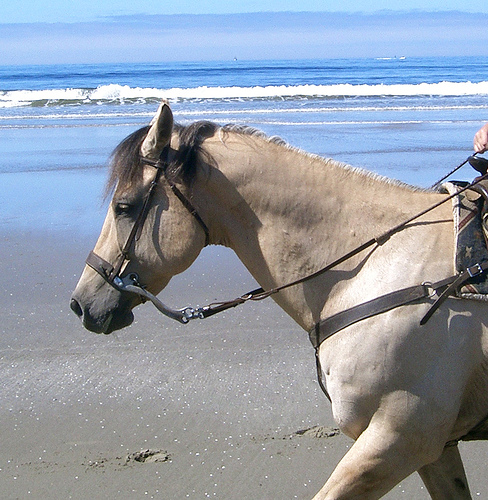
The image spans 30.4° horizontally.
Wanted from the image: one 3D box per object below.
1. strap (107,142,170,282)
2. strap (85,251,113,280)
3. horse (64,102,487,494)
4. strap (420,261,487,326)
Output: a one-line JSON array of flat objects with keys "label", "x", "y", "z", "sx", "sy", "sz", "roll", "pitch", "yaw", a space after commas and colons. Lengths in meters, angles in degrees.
[{"label": "strap", "x": -0.589, "y": -0.207, "z": 5.152, "sx": 0.108, "sy": 0.865, "sz": 0.108, "roll": 26, "pitch": 2, "yaw": -26}, {"label": "strap", "x": -0.850, "y": 0.083, "z": 5.262, "sx": 0.168, "sy": 0.064, "sz": 0.154, "roll": 37, "pitch": -3, "yaw": 4}, {"label": "horse", "x": 0.351, "y": 0.238, "z": 5.110, "sx": 2.225, "sy": 1.920, "sz": 0.858, "roll": 14, "pitch": 16, "yaw": 24}, {"label": "strap", "x": 1.110, "y": 0.225, "z": 4.794, "sx": 0.315, "sy": 0.370, "sz": 0.075, "roll": 5, "pitch": 16, "yaw": -14}]
